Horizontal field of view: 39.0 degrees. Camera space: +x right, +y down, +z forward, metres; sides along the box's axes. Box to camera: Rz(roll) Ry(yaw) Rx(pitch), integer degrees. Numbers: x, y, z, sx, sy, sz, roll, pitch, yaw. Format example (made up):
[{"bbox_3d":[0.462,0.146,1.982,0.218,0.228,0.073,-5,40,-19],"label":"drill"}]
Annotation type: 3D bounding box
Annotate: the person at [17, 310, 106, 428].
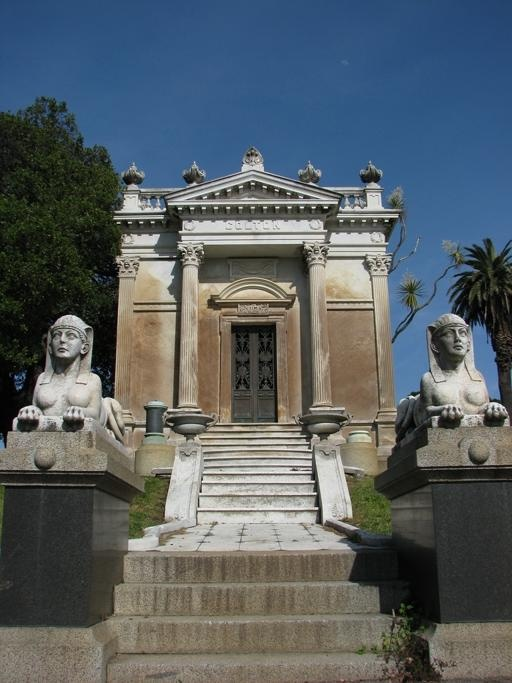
[{"bbox_3d":[-1.604,0.251,6.040,0.771,1.013,0.779,-8,-16,26],"label":"person"}]
